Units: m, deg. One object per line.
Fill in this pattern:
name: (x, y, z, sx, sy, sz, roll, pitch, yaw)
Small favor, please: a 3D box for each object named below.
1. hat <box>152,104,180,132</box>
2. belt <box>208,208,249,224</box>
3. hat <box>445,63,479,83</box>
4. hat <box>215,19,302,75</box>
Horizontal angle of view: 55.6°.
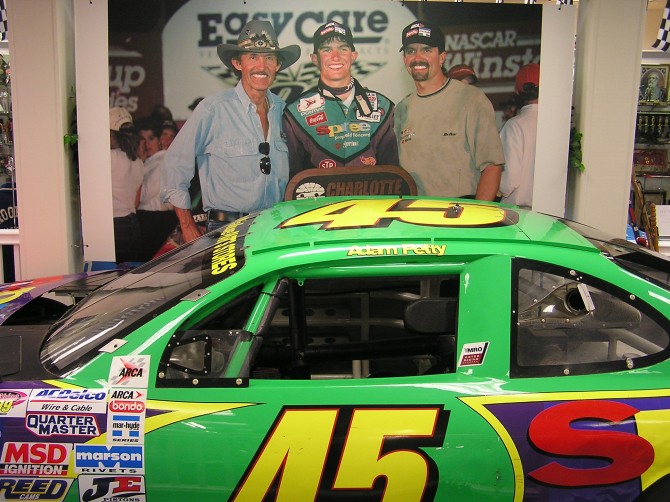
hat: (-1.495, -1.174, 5.596, 0.165, 0.218, 0.079, -1, 31, 9)
belt: (-1.011, -0.306, 5.789, 0.231, 0.132, 0.173, 2, 5, -14)
hat: (1.124, -1.576, 5.661, 0.215, 0.151, 0.348, 4, 13, 4)
hat: (-0.650, -1.804, 5.595, 0.528, 0.216, 0.504, -11, -25, 15)
